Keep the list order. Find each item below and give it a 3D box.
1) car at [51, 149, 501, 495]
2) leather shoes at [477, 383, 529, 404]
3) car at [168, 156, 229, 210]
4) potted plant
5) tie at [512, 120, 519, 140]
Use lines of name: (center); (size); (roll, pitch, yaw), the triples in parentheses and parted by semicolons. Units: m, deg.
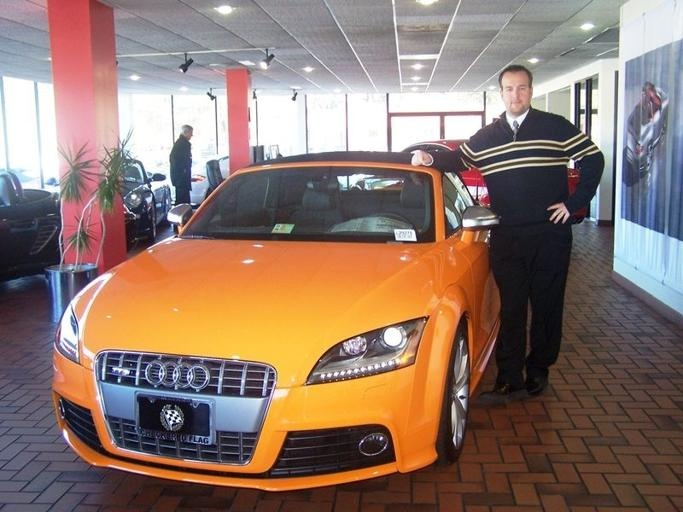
car: (-0.123, 0.035, 3.586); (2.186, 1.350, 3.715); (0, 12, 14)
leather shoes: (1.092, 0.961, 3.190); (0.367, 0.148, 0.138); (-3, 12, -5)
car: (-3.822, -2.302, 13.748); (1.069, 0.863, 2.553); (1, 15, 8)
potted plant: (-3.219, -0.276, 5.939); (0.846, 2.322, 0.960); (2, 2, 40)
tie: (1.128, -0.810, 3.007); (0.026, 0.122, 0.018); (0, 2, 15)
